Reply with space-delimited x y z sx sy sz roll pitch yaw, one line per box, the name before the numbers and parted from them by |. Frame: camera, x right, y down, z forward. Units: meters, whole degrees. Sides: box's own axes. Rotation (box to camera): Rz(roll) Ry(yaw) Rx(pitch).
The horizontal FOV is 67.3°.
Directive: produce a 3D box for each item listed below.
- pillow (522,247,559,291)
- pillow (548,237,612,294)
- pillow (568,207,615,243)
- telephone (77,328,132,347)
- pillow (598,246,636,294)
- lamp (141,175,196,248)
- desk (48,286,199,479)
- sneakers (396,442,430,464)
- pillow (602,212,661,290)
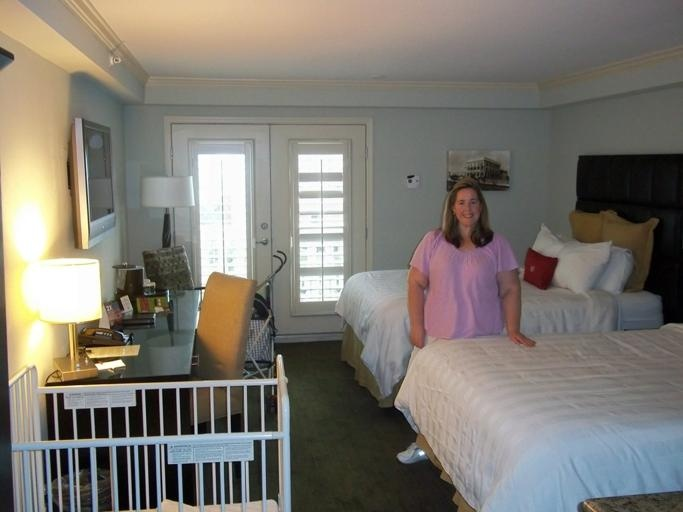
pillow | 1.776 0.119 4.559 0.117 0.238 0.341 1 9 -10
pillow | 2.019 0.073 4.293 0.126 0.419 0.414 18 -10 -27
pillow | 2.367 -0.289 4.831 0.125 0.298 0.359 -11 7 -27
telephone | -1.459 0.500 3.149 0.165 0.068 0.173 -2 0 -14
pillow | 2.281 0.106 4.275 0.186 0.318 0.329 -9 7 -3
lamp | -1.614 -0.454 5.184 0.617 0.964 0.625 -1 7 -14
desk | -1.159 0.556 2.785 1.075 0.812 0.598 -1 -4 -6
sneakers | 0.490 1.286 3.383 0.155 0.087 0.198 -2 2 -29
pillow | 2.468 -0.020 4.341 0.210 0.522 0.607 -3 7 -10
